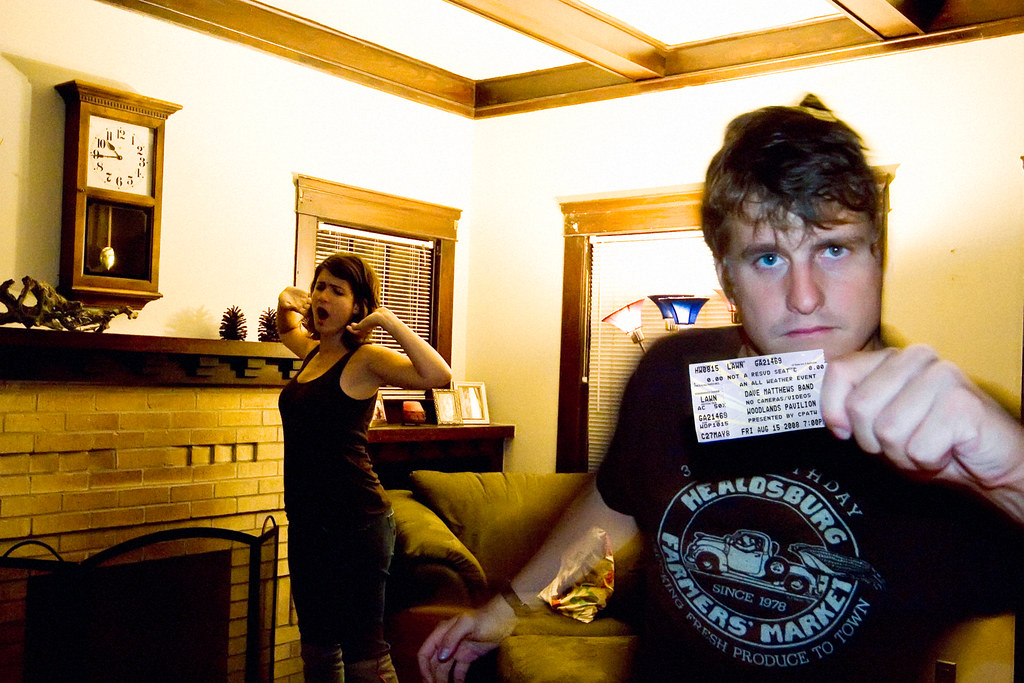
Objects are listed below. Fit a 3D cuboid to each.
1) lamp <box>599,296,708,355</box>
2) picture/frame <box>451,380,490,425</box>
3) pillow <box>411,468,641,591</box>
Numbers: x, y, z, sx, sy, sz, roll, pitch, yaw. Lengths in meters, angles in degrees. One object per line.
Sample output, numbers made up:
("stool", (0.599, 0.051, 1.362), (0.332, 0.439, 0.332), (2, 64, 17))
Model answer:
("lamp", (0.790, -0.208, 4.187), (0.490, 0.373, 0.338), (-15, -25, -6))
("picture/frame", (-0.272, 0.407, 4.869), (0.382, 0.376, 0.029), (11, -30, -41))
("pillow", (-0.067, 0.931, 4.065), (0.850, 0.244, 0.878), (13, 15, 43))
